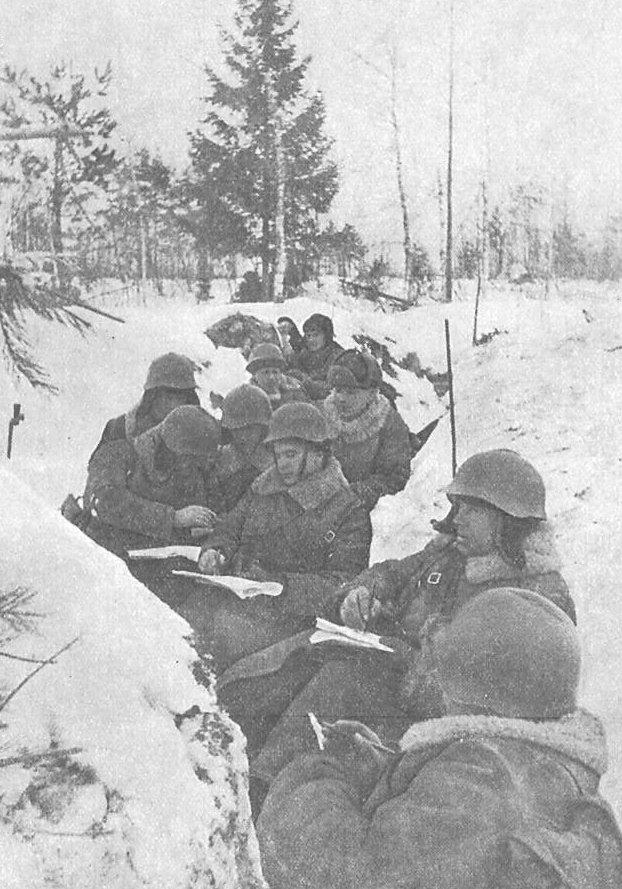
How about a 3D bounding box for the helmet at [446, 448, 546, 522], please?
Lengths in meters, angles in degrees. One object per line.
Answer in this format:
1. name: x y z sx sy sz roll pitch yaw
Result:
1. helmet: 0.736 0.152 4.669 0.268 0.323 0.217 5 12 33
